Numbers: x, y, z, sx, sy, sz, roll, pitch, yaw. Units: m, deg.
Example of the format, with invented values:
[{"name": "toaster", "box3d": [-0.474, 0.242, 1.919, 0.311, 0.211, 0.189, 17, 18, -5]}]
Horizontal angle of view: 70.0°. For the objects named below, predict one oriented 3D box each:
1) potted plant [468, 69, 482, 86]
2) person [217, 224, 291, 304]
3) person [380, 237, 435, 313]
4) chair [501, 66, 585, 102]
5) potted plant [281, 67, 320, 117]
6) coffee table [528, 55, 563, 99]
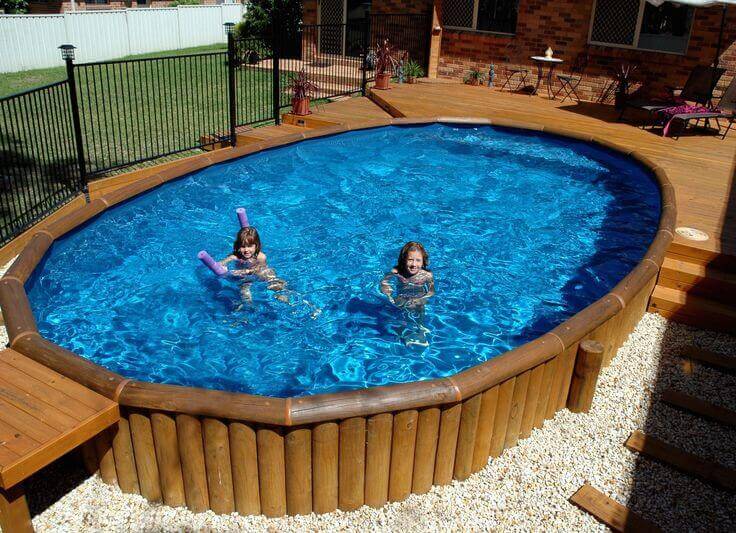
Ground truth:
[{"name": "potted plant", "box3d": [3.719, -6.608, 18.337, 0.317, 0.541, 0.554, -14, 31, -33]}, {"name": "person", "box3d": [-1.701, -0.079, 7.843, 0.964, 1.193, 0.564, -2, 28, -13]}, {"name": "person", "box3d": [0.629, 0.153, 7.536, 0.706, 1.268, 0.866, 1, 27, -8]}, {"name": "chair", "box3d": [5.787, -5.903, 17.071, 2.520, 0.694, 0.572, 9, 50, 13]}, {"name": "potted plant", "box3d": [-1.788, -4.679, 14.185, 0.604, 1.104, 0.977, 0, 26, -9]}, {"name": "coffee table", "box3d": [5.796, -6.113, 17.023, 1.496, 1.330, 1.309, 7, 37, 16]}]
